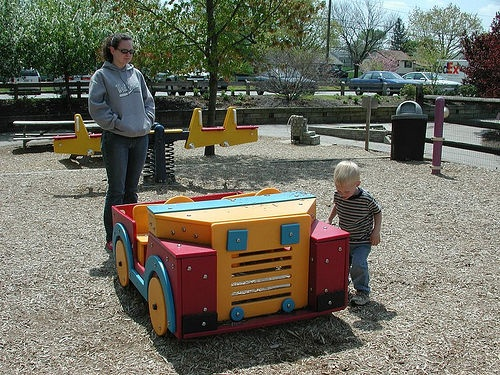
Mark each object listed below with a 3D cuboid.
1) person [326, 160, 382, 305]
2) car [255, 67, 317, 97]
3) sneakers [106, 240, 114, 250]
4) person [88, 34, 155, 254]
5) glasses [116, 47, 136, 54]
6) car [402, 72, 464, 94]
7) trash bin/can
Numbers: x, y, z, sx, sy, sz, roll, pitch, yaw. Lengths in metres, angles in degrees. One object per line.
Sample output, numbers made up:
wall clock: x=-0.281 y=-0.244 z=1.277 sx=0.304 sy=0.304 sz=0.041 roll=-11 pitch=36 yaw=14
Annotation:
person: x=0.953 y=0.416 z=4.907 sx=0.477 sy=1.300 sz=0.391 roll=2 pitch=11 yaw=10
car: x=1.550 y=-4.677 z=23.823 sx=2.655 sy=1.392 sz=1.571 roll=-3 pitch=23 yaw=-7
sneakers: x=-1.577 y=0.658 z=5.952 sx=0.092 sy=0.077 sz=0.171 roll=16 pitch=7 yaw=-19
person: x=-1.379 y=-0.471 z=5.785 sx=0.650 sy=2.277 sz=0.408 roll=-2 pitch=11 yaw=-12
glasses: x=-1.291 y=-1.423 z=5.638 sx=0.084 sy=0.056 sz=0.218 roll=7 pitch=13 yaw=32
car: x=10.229 y=-5.959 z=30.270 sx=2.743 sy=1.135 sz=6.368 roll=3 pitch=11 yaw=13
trash bin/can: x=3.485 y=-1.193 z=11.650 sx=0.795 sy=1.313 sz=0.783 roll=3 pitch=-2 yaw=-33
